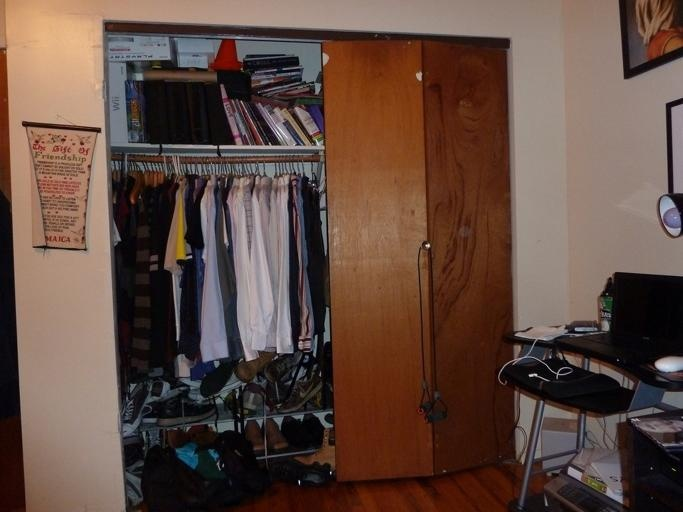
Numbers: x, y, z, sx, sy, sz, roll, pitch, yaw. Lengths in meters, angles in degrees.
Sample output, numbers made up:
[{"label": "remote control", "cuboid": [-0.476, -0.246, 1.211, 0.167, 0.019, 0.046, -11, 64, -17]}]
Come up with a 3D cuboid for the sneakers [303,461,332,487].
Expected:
[{"label": "sneakers", "cuboid": [-0.144, 1.322, 3.909, 0.144, 0.060, 0.110, 2, -4, -40]}]

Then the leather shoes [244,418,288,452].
[{"label": "leather shoes", "cuboid": [-0.483, 1.119, 4.103, 0.151, 0.116, 0.268, -3, 2, -20]}]

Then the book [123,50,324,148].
[{"label": "book", "cuboid": [-0.769, -0.903, 3.990, 0.887, 0.314, 0.680, 0, 0, -18]}]

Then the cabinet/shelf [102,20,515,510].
[{"label": "cabinet/shelf", "cuboid": [-0.163, 0.054, 3.880, 2.461, 2.832, 0.846, -1, 2, -15]}]

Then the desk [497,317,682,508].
[{"label": "desk", "cuboid": [1.306, 0.818, 3.351, 0.533, 0.785, 1.001, 0, 1, -30]}]
